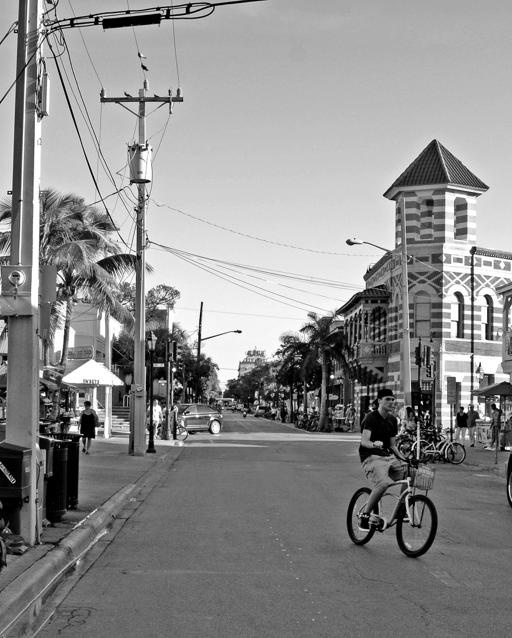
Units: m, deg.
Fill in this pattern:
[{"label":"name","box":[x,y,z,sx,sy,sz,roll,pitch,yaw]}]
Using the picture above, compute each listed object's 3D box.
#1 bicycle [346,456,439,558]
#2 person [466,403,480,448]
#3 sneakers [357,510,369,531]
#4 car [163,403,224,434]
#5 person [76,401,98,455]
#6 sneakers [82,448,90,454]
[{"label":"bicycle","box":[1.399,1.908,9.694,0.582,1.026,1.405,17,-14,-30]},{"label":"person","box":[8.799,4.350,37.751,0.429,1.747,2.328,1,-10,13]},{"label":"sneakers","box":[1.146,2.128,9.861,0.112,0.166,0.378,1,-18,3]},{"label":"car","box":[-2.797,4.869,46.010,2.207,1.245,1.289,7,-13,-27]},{"label":"person","box":[-4.617,2.911,25.524,0.419,1.513,0.419,1,11,-13]},{"label":"sneakers","box":[-4.629,3.580,25.232,0.116,0.192,0.430,4,-13,-6]}]
